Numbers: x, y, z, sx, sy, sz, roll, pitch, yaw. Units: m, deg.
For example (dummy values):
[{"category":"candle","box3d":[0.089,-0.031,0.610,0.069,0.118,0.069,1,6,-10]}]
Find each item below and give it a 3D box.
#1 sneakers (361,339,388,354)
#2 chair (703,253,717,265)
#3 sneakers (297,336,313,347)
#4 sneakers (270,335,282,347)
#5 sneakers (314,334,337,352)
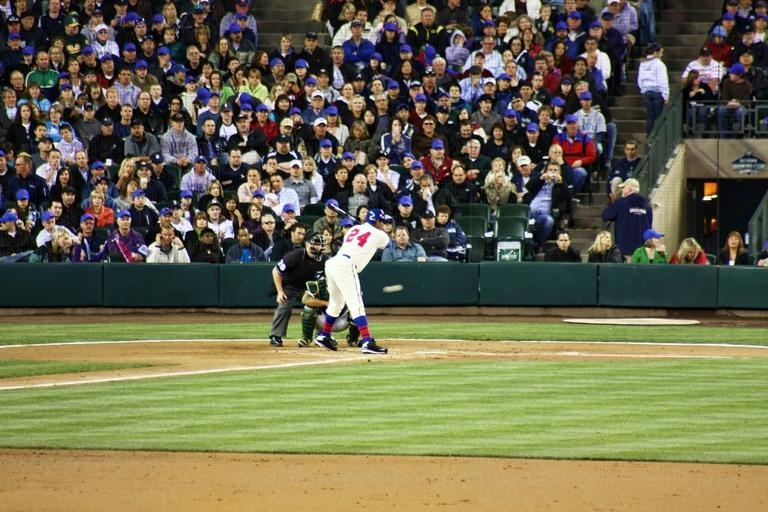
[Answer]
[{"category":"sneakers","box3d":[-0.141,1.652,32.453,0.556,0.266,0.214,0,1,5]},{"category":"chair","box3d":[7.072,0.034,38.258,0.224,0.301,0.242,4,8,41]},{"category":"sneakers","box3d":[-1.489,1.606,33.223,0.302,0.125,0.132,2,8,-5]},{"category":"sneakers","box3d":[-2.022,1.589,33.298,0.243,0.198,0.287,1,-1,-5]},{"category":"sneakers","box3d":[-1.080,1.585,32.779,0.515,0.231,0.192,25,9,-21]}]
